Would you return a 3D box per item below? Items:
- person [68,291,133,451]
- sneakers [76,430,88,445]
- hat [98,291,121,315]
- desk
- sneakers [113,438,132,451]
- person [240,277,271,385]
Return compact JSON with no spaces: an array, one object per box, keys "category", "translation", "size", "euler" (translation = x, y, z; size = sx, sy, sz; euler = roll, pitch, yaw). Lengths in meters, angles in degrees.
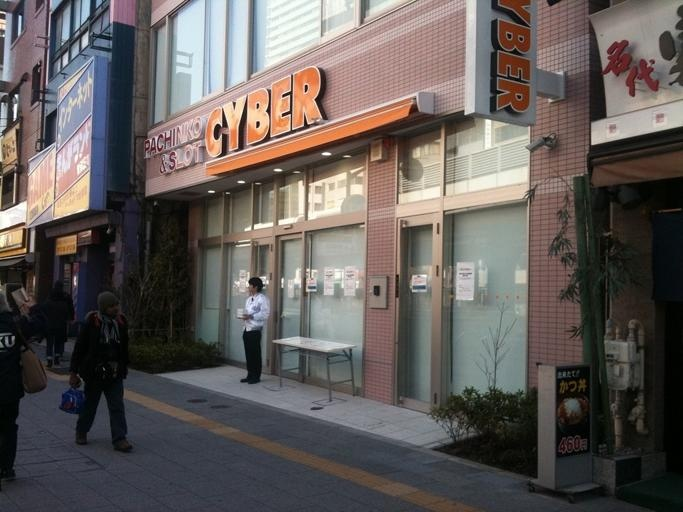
[{"category":"person","translation":[-3.201,1.518,8.188],"size":[0.843,1.554,0.513],"euler":[0,0,-7]},{"category":"sneakers","translation":[-3.546,2.472,8.291],"size":[0.089,0.172,0.246],"euler":[4,-9,-31]},{"category":"hat","translation":[-3.179,0.639,8.275],"size":[0.333,0.339,0.253],"euler":[-2,-3,3]},{"category":"desk","translation":[-0.528,2.121,11.746],"size":[0.683,0.970,1.747],"euler":[-3,2,-40]},{"category":"sneakers","translation":[-2.916,2.485,8.063],"size":[0.319,0.139,0.109],"euler":[-9,-10,40]},{"category":"person","translation":[-1.867,1.549,13.115],"size":[0.552,2.191,1.165],"euler":[0,0,-8]}]
